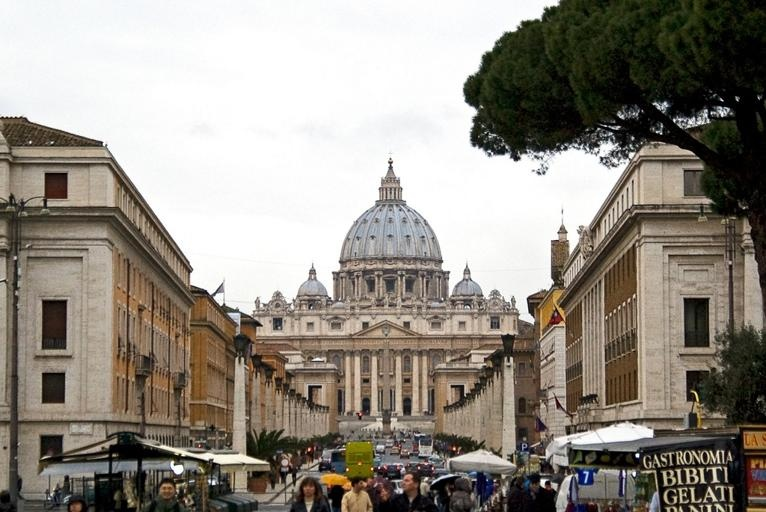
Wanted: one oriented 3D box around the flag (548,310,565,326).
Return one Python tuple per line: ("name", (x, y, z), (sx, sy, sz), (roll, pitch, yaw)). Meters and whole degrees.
("flag", (13.617, 4.843, 134.028), (0.952, 0.927, 1.670), (1, 30, -14))
